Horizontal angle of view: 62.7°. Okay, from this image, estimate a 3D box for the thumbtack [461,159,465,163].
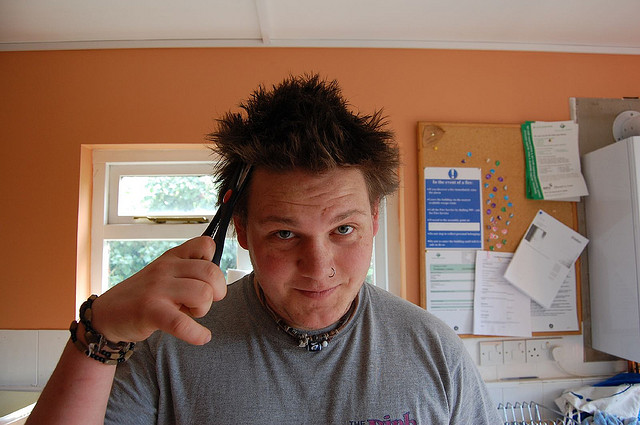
[{"bbox_3d":[0.800,-0.288,2.941,0.019,0.018,0.002,-3,2,-11],"label":"thumbtack"}]

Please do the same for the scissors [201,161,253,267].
[{"bbox_3d":[-0.356,0.008,1.973,0.125,0.348,0.221,3,9,-9],"label":"scissors"}]

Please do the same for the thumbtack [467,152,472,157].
[{"bbox_3d":[0.840,-0.324,2.945,0.027,0.025,0.002,-3,2,-8],"label":"thumbtack"}]

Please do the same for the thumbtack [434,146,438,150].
[{"bbox_3d":[0.646,-0.362,2.927,0.018,0.014,0.001,-3,2,-10],"label":"thumbtack"}]

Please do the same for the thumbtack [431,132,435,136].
[{"bbox_3d":[0.626,-0.435,2.928,0.025,0.021,0.006,1,-5,-2],"label":"thumbtack"}]

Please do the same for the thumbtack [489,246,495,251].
[{"bbox_3d":[0.960,0.199,2.928,0.029,0.025,0.005,-3,2,-15],"label":"thumbtack"}]

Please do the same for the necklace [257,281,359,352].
[{"bbox_3d":[-0.046,0.402,2.021,0.396,0.172,0.101,-3,2,2],"label":"necklace"}]

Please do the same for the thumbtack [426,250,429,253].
[{"bbox_3d":[0.593,0.213,2.900,0.010,0.009,0.018,-1,-15,18],"label":"thumbtack"}]

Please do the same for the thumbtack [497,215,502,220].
[{"bbox_3d":[1.007,0.028,2.942,0.013,0.021,0.020,2,38,-19],"label":"thumbtack"}]

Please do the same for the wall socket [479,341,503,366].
[{"bbox_3d":[0.937,0.773,2.895,0.150,0.126,0.019,1,-8,-4],"label":"wall socket"}]

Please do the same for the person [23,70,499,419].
[{"bbox_3d":[-0.222,0.109,2.363,2.002,1.325,0.880,3,-3,-5],"label":"person"}]

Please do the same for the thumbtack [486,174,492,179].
[{"bbox_3d":[0.946,-0.204,2.952,0.028,0.025,0.007,2,-7,-3],"label":"thumbtack"}]

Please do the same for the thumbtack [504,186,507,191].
[{"bbox_3d":[1.043,-0.138,2.957,0.027,0.024,0.007,2,-7,-8],"label":"thumbtack"}]

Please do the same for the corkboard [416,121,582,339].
[{"bbox_3d":[0.993,-0.008,2.967,0.953,1.024,0.089,-3,2,-8],"label":"corkboard"}]

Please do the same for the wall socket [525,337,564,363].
[{"bbox_3d":[1.229,0.765,2.933,0.235,0.133,0.051,3,-3,-5],"label":"wall socket"}]

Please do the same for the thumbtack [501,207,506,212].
[{"bbox_3d":[1.030,-0.016,2.945,0.026,0.025,0.005,-3,2,-15],"label":"thumbtack"}]

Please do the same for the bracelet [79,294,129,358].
[{"bbox_3d":[-0.810,0.415,1.931,0.104,0.190,0.217,1,5,-15],"label":"bracelet"}]

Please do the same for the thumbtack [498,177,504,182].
[{"bbox_3d":[1.017,-0.189,2.958,0.027,0.025,0.008,-8,3,-3],"label":"thumbtack"}]
